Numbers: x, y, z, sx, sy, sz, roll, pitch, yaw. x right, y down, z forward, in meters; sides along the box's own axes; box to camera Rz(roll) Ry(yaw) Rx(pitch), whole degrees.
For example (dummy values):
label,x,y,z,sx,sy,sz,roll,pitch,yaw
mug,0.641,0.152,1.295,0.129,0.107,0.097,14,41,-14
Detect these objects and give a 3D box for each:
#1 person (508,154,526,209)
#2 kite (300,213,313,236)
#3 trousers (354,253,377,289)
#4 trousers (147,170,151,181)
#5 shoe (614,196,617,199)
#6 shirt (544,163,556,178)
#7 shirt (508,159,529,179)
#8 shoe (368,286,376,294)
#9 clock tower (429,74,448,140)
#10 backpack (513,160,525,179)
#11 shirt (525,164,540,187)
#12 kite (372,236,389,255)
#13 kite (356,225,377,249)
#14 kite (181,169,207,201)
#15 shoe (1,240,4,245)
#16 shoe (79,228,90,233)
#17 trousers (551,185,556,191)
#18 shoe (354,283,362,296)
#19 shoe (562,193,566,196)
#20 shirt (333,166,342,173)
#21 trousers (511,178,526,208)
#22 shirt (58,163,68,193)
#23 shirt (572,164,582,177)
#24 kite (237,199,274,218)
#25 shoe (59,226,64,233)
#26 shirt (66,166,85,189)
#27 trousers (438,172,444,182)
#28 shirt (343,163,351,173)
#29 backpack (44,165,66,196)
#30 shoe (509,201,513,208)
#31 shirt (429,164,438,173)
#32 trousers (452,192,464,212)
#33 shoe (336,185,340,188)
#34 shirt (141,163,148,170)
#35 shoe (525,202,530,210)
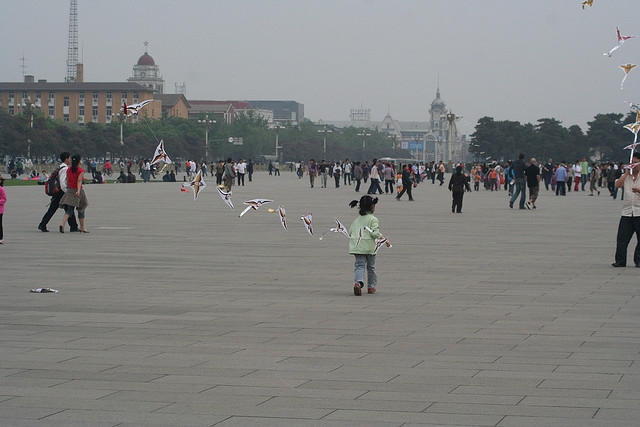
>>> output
label,x,y,z,sx,sy,sz,roll,pitch,yaw
person,5.659,-0.930,32.477,0.647,1.554,0.533,-2,-2,8
kite,-0.252,0.253,23.858,0.181,0.415,0.312,-10,-15,-12
trousers,0.652,0.843,16.369,0.297,0.566,0.644,0,10,1
trousers,-9.485,-2.108,64.093,0.219,0.218,0.683,-5,-29,0
shoe,9.842,-0.514,38.218,0.046,0.047,0.081,2,-2,-26
shirt,9.402,-1.733,46.885,0.315,0.600,0.862,2,10,8
shirt,5.663,-1.224,32.291,0.471,0.518,0.456,2,10,12
shoe,0.740,1.082,16.167,0.081,0.093,0.229,-2,-6,12
clock tower,27.687,-24.145,267.686,5.418,13.518,5.027,1,8,9
backpack,5.625,-1.219,32.298,0.299,0.515,0.420,2,10,11
shirt,5.971,-1.036,32.295,0.361,0.703,0.633,2,10,9
kite,0.904,0.456,16.362,0.217,0.075,0.208,-31,-1,-36
kite,0.628,0.320,16.279,0.255,0.239,0.075,-2,18,-18
kite,-4.985,-1.124,45.618,1.817,1.401,0.136,-1,18,-44
shoe,-5.827,0.540,21.152,0.072,0.082,0.202,1,-1,-15
shoe,-4.812,0.358,23.564,0.265,0.103,0.078,2,11,-6
trousers,10.151,-1.101,49.842,0.279,0.273,0.254,0,-1,-3
shoe,0.539,1.068,16.046,0.077,0.154,0.070,-5,14,8
shoe,9.058,-0.698,42.560,0.081,0.068,0.018,-2,5,0
shirt,0.866,-2.029,53.378,0.397,0.366,0.131,-2,-17,0
trousers,5.618,-0.568,32.363,0.390,0.837,0.858,2,10,10
shirt,-5.158,-0.709,23.193,0.173,0.600,0.452,-3,11,-15
shirt,11.106,-1.831,49.439,0.644,0.579,0.348,0,-6,-6
kite,-1.215,-0.118,24.785,0.494,0.171,1.135,4,8,24
shoe,-5.219,0.325,23.349,0.076,0.155,0.276,-2,11,-13
shirt,-4.917,-0.718,23.070,0.360,0.433,0.233,1,10,7
trousers,6.277,-1.816,59.337,0.155,0.480,0.624,2,10,12
shirt,1.444,-2.256,57.819,0.662,0.584,0.348,0,-5,1
backpack,-5.454,-0.636,23.733,0.681,0.598,0.482,1,3,-1
shoe,5.431,-0.244,32.399,0.073,0.198,0.139,-1,13,2
shirt,7.482,-2.930,75.204,0.553,0.645,1.119,-4,3,6
trousers,3.668,-0.302,30.441,0.245,0.545,0.652,1,10,5
shoe,0.896,-1.263,53.761,0.110,0.092,0.107,0,-6,-4
shirt,-9.613,-2.562,63.278,0.366,0.400,0.576,0,13,-15
shoe,5.890,-0.212,32.380,0.085,0.206,0.079,-10,10,45
